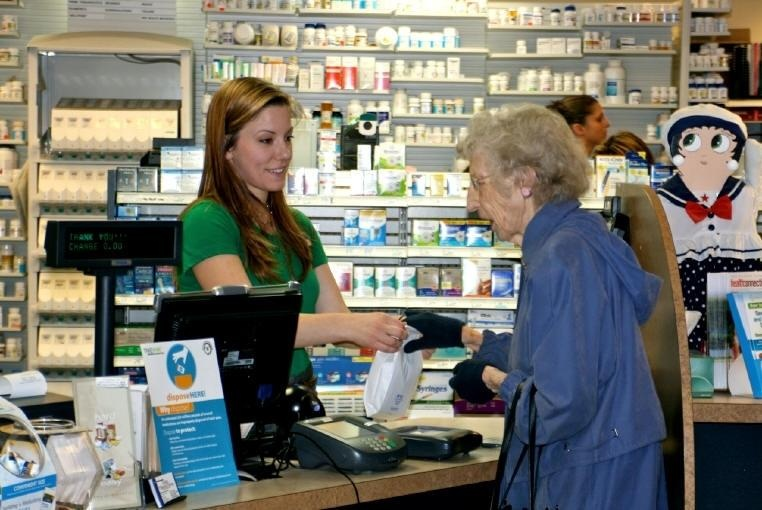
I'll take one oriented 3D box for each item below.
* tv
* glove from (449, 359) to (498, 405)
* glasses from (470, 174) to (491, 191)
[{"bbox_3d":[-0.627,0.520,3.689,0.697,0.791,0.292,5,-1,-25],"label":"tv"},{"bbox_3d":[0.398,0.567,3.860,0.096,0.166,0.209,-15,18,-34],"label":"glove"},{"bbox_3d":[0.424,-0.307,3.771,0.072,0.072,0.022,6,-24,20],"label":"glasses"}]
